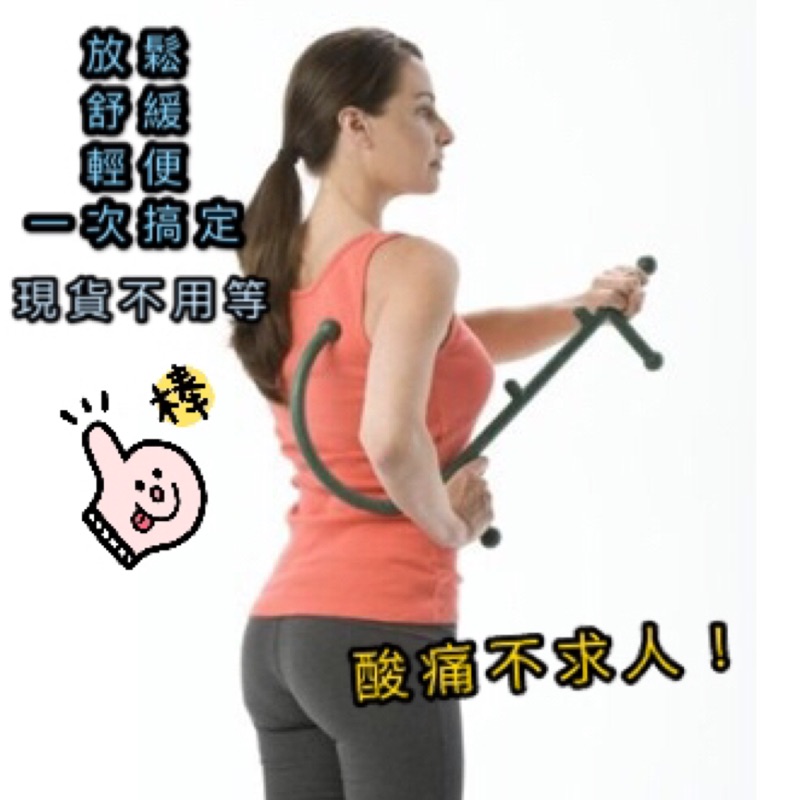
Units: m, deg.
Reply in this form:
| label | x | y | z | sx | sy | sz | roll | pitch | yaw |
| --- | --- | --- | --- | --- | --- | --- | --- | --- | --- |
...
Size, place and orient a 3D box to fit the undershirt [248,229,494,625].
| label | x | y | z | sx | sy | sz | roll | pitch | yaw |
| --- | --- | --- | --- | --- | --- | --- | --- | --- | --- |
| undershirt | -0.043 | 0.049 | 2.024 | 0.396 | 0.635 | 0.207 | -1 | -4 | 3 |
